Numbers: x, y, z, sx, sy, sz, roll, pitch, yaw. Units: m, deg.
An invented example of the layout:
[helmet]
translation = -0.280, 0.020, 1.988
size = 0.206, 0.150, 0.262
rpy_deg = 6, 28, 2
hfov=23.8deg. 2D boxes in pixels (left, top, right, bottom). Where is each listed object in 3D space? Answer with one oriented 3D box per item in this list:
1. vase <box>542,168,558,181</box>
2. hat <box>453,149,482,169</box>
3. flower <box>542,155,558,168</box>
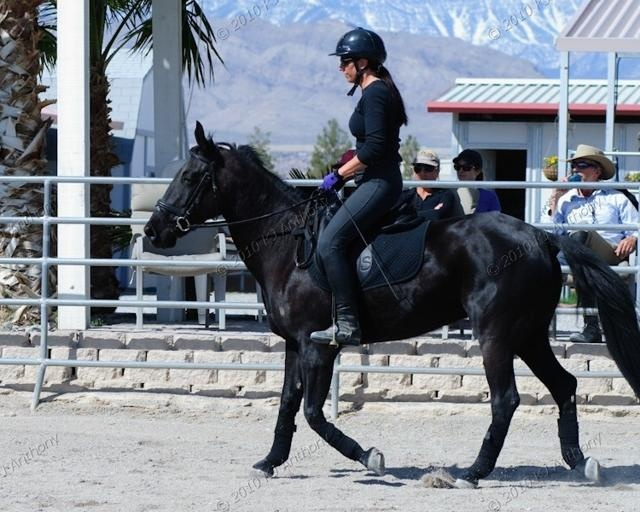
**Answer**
[vase]
translation = 3.322, -1.174, 21.933
size = 0.274, 0.198, 0.273
rpy_deg = 1, -2, 11
[hat]
translation = 1.515, -0.983, 15.468
size = 0.256, 0.126, 0.179
rpy_deg = 18, -4, -32
[flower]
translation = 3.458, -1.399, 22.548
size = 0.184, 0.124, 0.178
rpy_deg = 0, -1, -15
